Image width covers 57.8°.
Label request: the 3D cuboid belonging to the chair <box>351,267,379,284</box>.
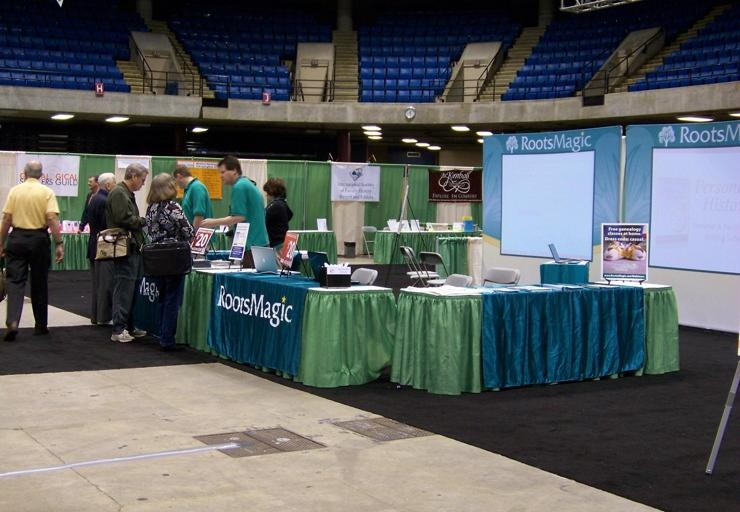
[{"bbox_3d":[-0.040,0.199,6.463,0.147,0.225,0.174,2,-4,36],"label":"chair"}]

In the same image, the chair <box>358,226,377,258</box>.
[{"bbox_3d":[-0.205,-0.320,17.191,0.474,0.896,0.613,0,-3,-19],"label":"chair"}]

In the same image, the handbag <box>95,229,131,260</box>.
[{"bbox_3d":[-2.783,-0.129,7.376,0.441,0.456,0.274,1,0,6],"label":"handbag"}]

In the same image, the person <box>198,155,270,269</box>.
[{"bbox_3d":[-1.410,-0.220,7.213,0.650,1.625,0.627,-3,10,4],"label":"person"}]

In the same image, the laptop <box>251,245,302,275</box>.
[{"bbox_3d":[-1.001,0.049,6.621,0.345,0.243,0.294,2,1,38],"label":"laptop"}]

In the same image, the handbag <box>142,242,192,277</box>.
[{"bbox_3d":[-2.001,0.033,6.601,0.505,0.433,0.299,-1,4,-9],"label":"handbag"}]

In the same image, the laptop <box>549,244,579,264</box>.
[{"bbox_3d":[2.499,0.014,8.679,0.339,0.248,0.380,-3,-1,25],"label":"laptop"}]
